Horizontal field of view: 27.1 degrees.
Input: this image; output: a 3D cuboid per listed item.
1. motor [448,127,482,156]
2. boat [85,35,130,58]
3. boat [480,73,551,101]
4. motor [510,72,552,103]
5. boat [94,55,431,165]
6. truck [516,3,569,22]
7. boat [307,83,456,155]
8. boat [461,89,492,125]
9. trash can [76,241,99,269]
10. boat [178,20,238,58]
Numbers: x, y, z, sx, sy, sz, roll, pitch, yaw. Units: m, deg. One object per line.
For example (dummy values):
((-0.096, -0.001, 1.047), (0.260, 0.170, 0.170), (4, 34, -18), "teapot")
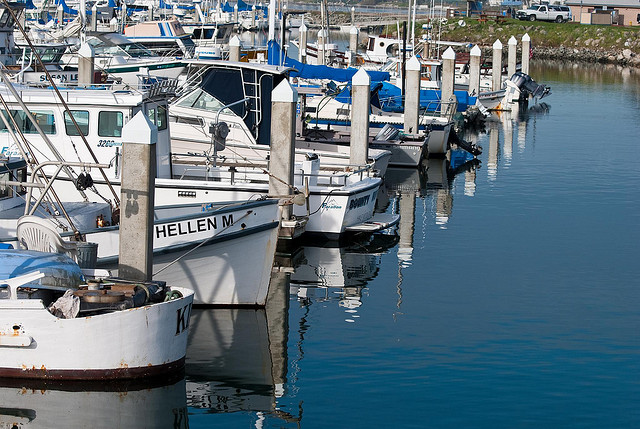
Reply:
((5.537, -2.770, 50.974), (1.770, 0.414, 0.670), (28, -15, 4), "motor")
((-8.371, -6.635, 52.417), (2.355, 0.775, 1.617), (-4, 13, -25), "boat")
((9.719, -5.970, 63.458), (4.116, 1.398, 1.350), (11, 14, 35), "boat")
((10.081, -6.075, 63.892), (2.148, 1.184, 0.881), (25, -2, -11), "motor")
((-2.211, -2.398, 42.421), (9.808, 3.537, 5.258), (5, 10, 6), "boat")
((17.634, -15.956, 104.753), (3.543, 1.120, 1.663), (0, 6, -18), "truck")
((2.941, -3.517, 48.277), (7.760, 2.784, 2.172), (4, 11, 7), "boat")
((6.800, -4.557, 57.524), (0.832, 1.340, 2.931), (3, 16, 11), "boat")
((-5.583, 1.014, 31.898), (0.605, 0.627, 0.610), (4, 3, 40), "trash can")
((-5.779, -9.304, 67.933), (3.007, 1.014, 2.248), (9, 8, 26), "boat")
